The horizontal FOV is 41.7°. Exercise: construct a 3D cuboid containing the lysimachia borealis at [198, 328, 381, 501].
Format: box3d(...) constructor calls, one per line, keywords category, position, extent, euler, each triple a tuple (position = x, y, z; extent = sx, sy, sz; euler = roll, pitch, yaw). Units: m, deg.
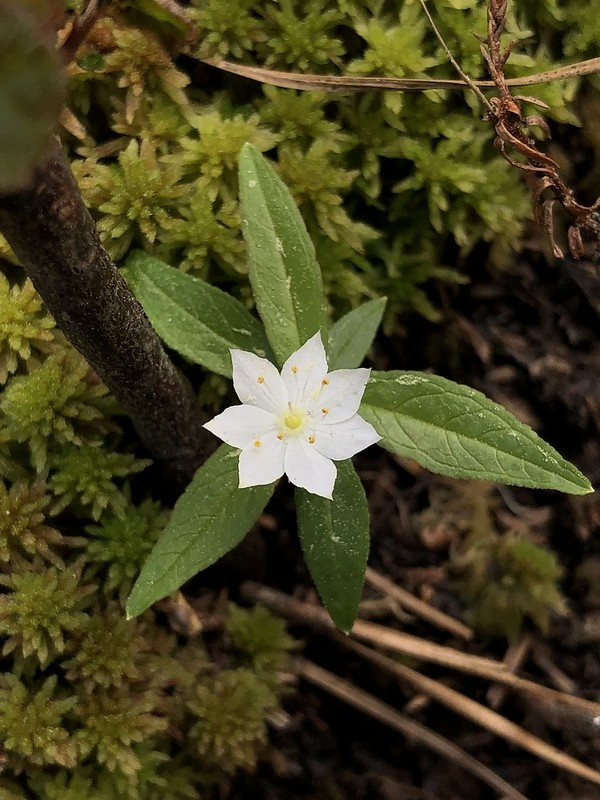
box3d(category="lysimachia borealis", position=(-0.016, 0.046, 2.153), extent=(0.440, 0.368, 0.327), euler=(-9, 34, 5))
